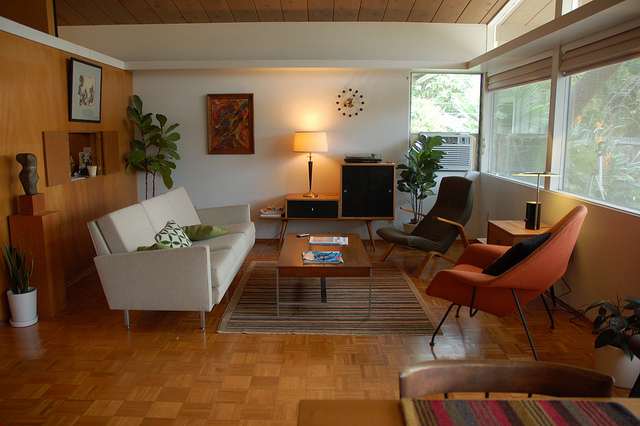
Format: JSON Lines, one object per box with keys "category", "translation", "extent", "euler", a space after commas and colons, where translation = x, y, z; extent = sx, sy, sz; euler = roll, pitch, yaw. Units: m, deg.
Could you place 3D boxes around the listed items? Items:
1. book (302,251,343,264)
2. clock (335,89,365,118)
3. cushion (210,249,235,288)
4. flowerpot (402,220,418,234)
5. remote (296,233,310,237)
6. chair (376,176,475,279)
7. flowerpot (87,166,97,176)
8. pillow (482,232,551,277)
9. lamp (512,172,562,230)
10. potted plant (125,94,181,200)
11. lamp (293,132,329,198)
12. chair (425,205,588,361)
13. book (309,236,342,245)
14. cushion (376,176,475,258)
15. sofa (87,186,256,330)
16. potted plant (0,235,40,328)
{"category": "book", "translation": [0.016, 0.456, 4.260], "extent": [0.408, 0.045, 0.393], "euler": [-2, 8, -3]}
{"category": "clock", "translation": [0.481, -1.781, 6.418], "extent": [0.133, 0.582, 0.602], "euler": [27, 44, 25]}
{"category": "cushion", "translation": [-1.008, 0.530, 4.105], "extent": [0.257, 0.105, 0.472], "euler": [-5, 7, -7]}
{"category": "flowerpot", "translation": [1.376, 0.205, 6.209], "extent": [0.192, 0.129, 0.183], "euler": [-2, 9, -17]}
{"category": "remote", "translation": [-0.222, 0.272, 5.093], "extent": [0.166, 0.012, 0.140], "euler": [-2, 8, -3]}
{"category": "chair", "translation": [1.434, 0.129, 5.348], "extent": [1.196, 1.152, 0.872], "euler": [-6, 13, -22]}
{"category": "flowerpot", "translation": [-2.979, -0.552, 5.271], "extent": [0.102, 0.098, 0.109], "euler": [9, 10, 36]}
{"category": "pillow", "translation": [1.707, 0.369, 3.478], "extent": [0.570, 0.356, 0.291], "euler": [0, 9, 12]}
{"category": "lamp", "translation": [2.299, -0.133, 4.380], "extent": [0.577, 0.584, 0.517], "euler": [-1, 5, -44]}
{"category": "potted plant", "translation": [-2.621, -0.839, 6.294], "extent": [0.764, 1.585, 0.813], "euler": [1, 2, 37]}
{"category": "lamp", "translation": [-0.138, -0.749, 6.244], "extent": [0.501, 0.988, 0.388], "euler": [-2, 9, -2]}
{"category": "chair", "translation": [1.727, 0.574, 3.874], "extent": [1.264, 1.125, 1.338], "euler": [-12, 10, -43]}
{"category": "book", "translation": [0.067, 0.322, 4.864], "extent": [0.392, 0.044, 0.324], "euler": [-1, 8, 5]}
{"category": "cushion", "translation": [1.400, 0.078, 5.280], "extent": [1.178, 0.921, 0.825], "euler": [-9, 17, -22]}
{"category": "sofa", "translation": [-1.623, 0.334, 5.021], "extent": [1.211, 1.013, 2.556], "euler": [3, 11, -1]}
{"category": "potted plant", "translation": [-2.987, 0.675, 4.020], "extent": [0.268, 0.880, 0.238], "euler": [-3, 10, -3]}
